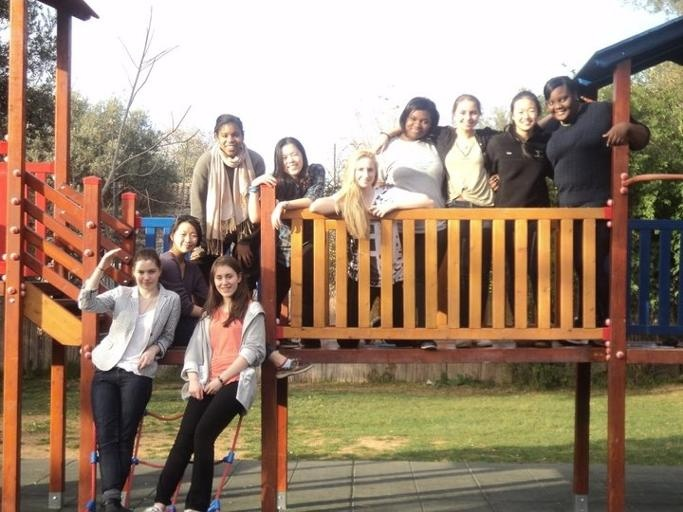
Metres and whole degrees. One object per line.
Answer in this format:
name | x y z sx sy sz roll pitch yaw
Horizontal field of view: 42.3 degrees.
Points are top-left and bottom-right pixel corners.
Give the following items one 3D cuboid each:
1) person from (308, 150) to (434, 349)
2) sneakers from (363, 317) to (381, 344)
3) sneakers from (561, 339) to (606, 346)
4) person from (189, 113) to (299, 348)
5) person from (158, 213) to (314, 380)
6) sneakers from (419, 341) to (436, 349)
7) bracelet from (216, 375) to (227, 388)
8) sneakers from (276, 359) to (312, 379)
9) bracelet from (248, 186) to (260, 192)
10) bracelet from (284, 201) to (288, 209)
person | 0.375 -0.045 8.849 1.145 1.949 0.982 -2 -5 5
sneakers | 0.337 0.757 9.021 0.183 0.271 0.220 3 -13 -23
sneakers | 2.413 0.861 8.760 0.477 0.068 0.186 -5 -6 28
person | -1.258 -0.405 9.702 0.785 2.383 0.672 -6 39 -17
person | -1.225 0.284 8.823 1.647 1.314 0.719 6 6 20
sneakers | 0.861 0.868 8.651 0.164 0.092 0.189 -2 -5 7
bracelet | -1.138 1.159 8.257 0.057 0.094 0.091 -13 39 -24
sneakers | -0.475 1.090 8.549 0.376 0.198 0.157 -7 0 -6
bracelet | -0.891 -0.684 8.942 0.069 0.056 0.096 -1 -7 -2
bracelet | -0.537 -0.489 8.436 0.037 0.054 0.020 0 5 -36
